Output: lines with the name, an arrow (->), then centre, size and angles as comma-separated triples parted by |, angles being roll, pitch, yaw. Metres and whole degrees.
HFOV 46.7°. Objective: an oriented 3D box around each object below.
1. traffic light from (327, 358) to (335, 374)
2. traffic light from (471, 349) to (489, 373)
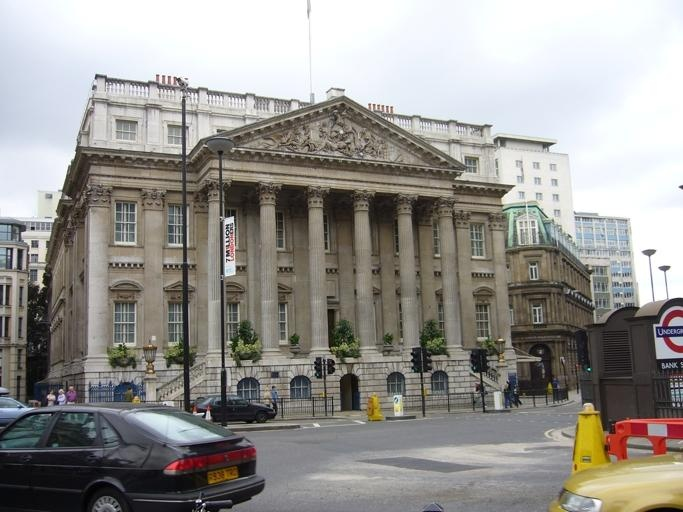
traffic light -> -0.645, 6.061, 43.612 | 0.346, 0.825, 0.957 | -1, -11, -5
traffic light -> 7.807, 5.890, 44.750 | 0.894, 1.358, 1.400 | -3, -11, 6
